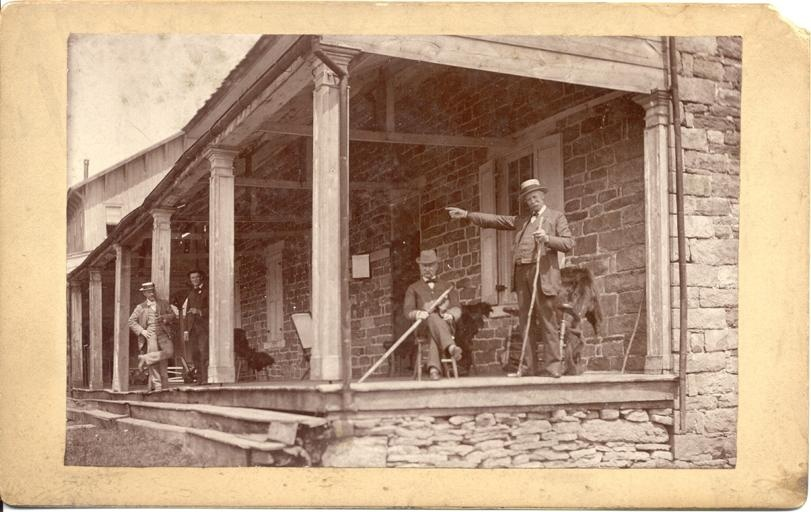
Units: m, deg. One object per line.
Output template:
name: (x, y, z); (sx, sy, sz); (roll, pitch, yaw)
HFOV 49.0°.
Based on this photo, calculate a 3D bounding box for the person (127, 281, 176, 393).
person: (-3.547, 1.123, 12.550); (0.560, 1.510, 0.795); (4, -8, -36)

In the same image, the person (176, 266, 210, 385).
person: (-3.186, 1.055, 13.463); (0.393, 1.633, 0.591); (1, -7, -14)

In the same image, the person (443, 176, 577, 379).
person: (1.766, 0.282, 11.694); (1.168, 2.555, 1.328); (-6, -9, 37)

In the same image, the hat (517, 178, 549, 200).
hat: (1.604, -0.852, 11.703); (0.379, 0.140, 0.408); (-8, -5, -42)

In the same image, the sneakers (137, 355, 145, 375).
sneakers: (-3.676, 1.522, 12.417); (0.097, 0.275, 0.196); (1, -7, -17)

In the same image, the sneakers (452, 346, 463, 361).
sneakers: (0.663, 1.230, 11.365); (0.093, 0.150, 0.296); (-2, -6, 13)

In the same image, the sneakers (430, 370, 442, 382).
sneakers: (0.376, 1.496, 11.075); (0.108, 0.085, 0.235); (-1, -11, -1)

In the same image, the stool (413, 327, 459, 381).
stool: (0.397, 1.338, 11.610); (0.693, 0.716, 0.854); (-6, -10, 25)
